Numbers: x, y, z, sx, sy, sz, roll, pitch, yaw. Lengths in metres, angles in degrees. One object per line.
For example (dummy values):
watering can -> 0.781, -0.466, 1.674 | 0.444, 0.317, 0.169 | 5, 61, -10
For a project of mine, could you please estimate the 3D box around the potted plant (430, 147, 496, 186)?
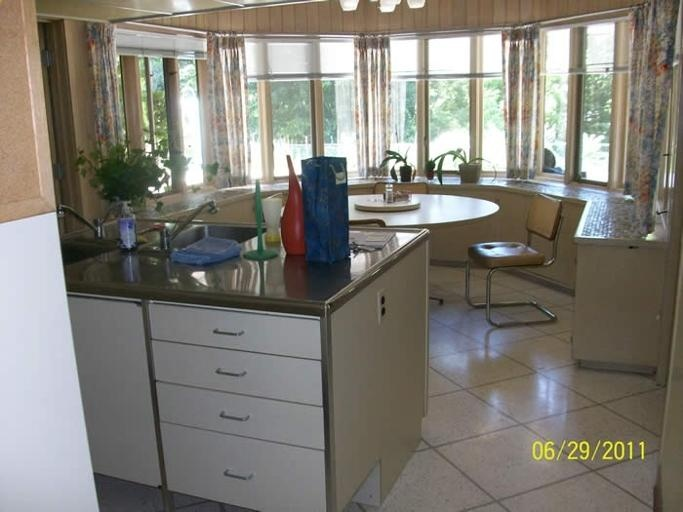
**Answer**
potted plant -> 1.218, -0.935, 5.734 | 0.594, 0.315, 0.727 | 3, 18, 23

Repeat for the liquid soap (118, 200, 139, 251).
liquid soap -> -0.960, -0.143, 2.493 | 0.079, 0.203, 0.179 | -9, 17, -20

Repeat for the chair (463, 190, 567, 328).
chair -> 1.302, 0.021, 4.298 | 0.608, 0.964, 0.594 | -4, 14, -13

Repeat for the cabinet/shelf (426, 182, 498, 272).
cabinet/shelf -> 1.126, -0.185, 5.073 | 0.761, 0.610, 0.806 | -1, 13, 0

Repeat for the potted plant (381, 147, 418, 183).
potted plant -> 0.574, -0.948, 5.835 | 0.355, 0.327, 0.584 | -2, 17, 8

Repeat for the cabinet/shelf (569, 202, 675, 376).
cabinet/shelf -> 1.652, 0.224, 3.292 | 0.297, 0.575, 0.884 | 1, 17, 15
